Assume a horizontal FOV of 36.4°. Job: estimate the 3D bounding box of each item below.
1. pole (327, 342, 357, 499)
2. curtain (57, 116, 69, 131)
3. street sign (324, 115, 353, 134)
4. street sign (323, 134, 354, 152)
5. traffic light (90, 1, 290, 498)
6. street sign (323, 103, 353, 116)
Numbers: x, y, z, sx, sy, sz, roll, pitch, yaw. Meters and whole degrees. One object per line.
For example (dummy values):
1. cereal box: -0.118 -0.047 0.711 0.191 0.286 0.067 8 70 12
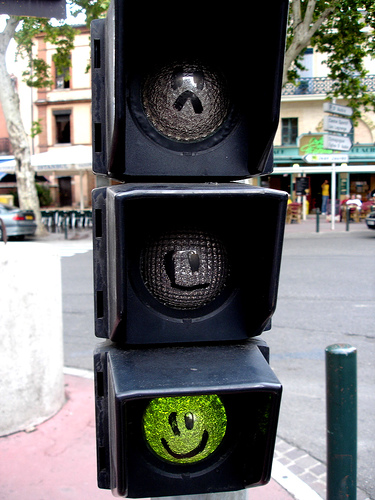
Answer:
1. pole: 0.404 0.460 1.491 0.077 0.403 0.099 0 14 -1
2. curtain: -6.797 -6.888 31.015 0.722 0.757 0.139 5 14 18
3. street sign: 3.889 -3.209 14.592 0.795 0.420 0.563 1 13 1
4. street sign: 3.947 -2.818 14.978 0.673 0.434 0.798 6 14 22
5. traffic light: 0.003 0.003 1.260 0.430 1.060 0.500 -2 14 -9
6. street sign: 3.760 -3.530 14.271 0.787 0.297 0.610 0 13 -3
